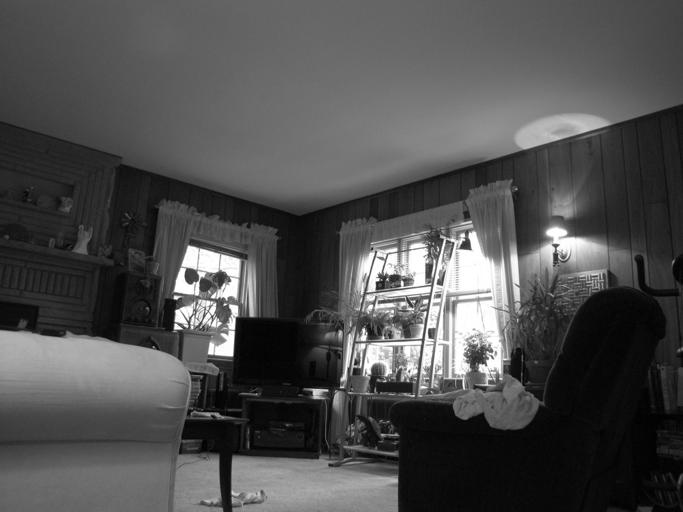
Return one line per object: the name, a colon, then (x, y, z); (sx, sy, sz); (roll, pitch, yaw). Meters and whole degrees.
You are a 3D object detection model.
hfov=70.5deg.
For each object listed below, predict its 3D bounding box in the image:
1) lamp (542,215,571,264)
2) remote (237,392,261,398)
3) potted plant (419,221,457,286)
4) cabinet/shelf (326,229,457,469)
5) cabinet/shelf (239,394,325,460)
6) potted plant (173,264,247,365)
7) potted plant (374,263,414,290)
lamp: (2.024, -0.144, 4.543); (0.203, 0.463, 0.220); (-2, -11, 24)
remote: (-1.012, 1.533, 5.331); (0.198, 0.049, 0.195); (4, -11, -16)
potted plant: (0.991, -0.005, 4.958); (0.279, 0.611, 0.394); (2, -10, 5)
cabinet/shelf: (0.583, 1.054, 5.014); (1.081, 2.432, 0.772); (-5, -14, 36)
cabinet/shelf: (-0.641, 1.823, 5.240); (0.881, 0.589, 0.459); (1, -11, 8)
potted plant: (-1.590, 0.648, 5.873); (0.884, 1.105, 0.600); (9, -12, -29)
potted plant: (0.572, 0.202, 5.275); (0.300, 0.238, 0.307); (1, -12, 2)
